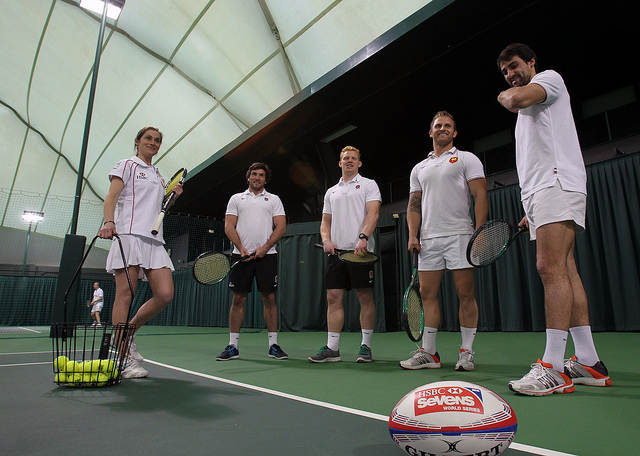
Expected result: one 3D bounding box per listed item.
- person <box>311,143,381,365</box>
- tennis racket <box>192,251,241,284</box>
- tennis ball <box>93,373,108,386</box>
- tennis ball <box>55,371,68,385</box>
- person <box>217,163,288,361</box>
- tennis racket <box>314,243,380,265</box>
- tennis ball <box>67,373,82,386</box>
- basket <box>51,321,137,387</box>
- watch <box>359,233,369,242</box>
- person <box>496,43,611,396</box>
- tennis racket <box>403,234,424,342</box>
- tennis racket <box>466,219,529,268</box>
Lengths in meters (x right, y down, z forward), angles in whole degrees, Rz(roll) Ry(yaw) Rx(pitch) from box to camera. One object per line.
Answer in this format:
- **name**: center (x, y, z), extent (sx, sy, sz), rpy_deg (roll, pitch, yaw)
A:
- **person**: center (0.275, 0.207, 4.144), extent (0.697, 2.245, 0.625), rpy_deg (-5, -12, 21)
- **tennis racket**: center (-1.103, 0.409, 4.136), extent (0.370, 0.290, 0.284), rpy_deg (5, -13, -20)
- **tennis ball**: center (-1.551, 1.066, 2.870), extent (0.072, 0.063, 0.077), rpy_deg (-1, -3, 0)
- **tennis ball**: center (-1.818, 1.056, 2.851), extent (0.065, 0.060, 0.073), rpy_deg (-1, -8, -7)
- **person**: center (-0.723, 0.307, 4.518), extent (0.703, 2.211, 0.439), rpy_deg (3, -12, -15)
- **tennis racket**: center (0.326, 0.284, 3.850), extent (0.222, 0.049, 0.550), rpy_deg (6, 5, -32)
- **tennis ball**: center (-1.728, 1.058, 2.848), extent (0.072, 0.063, 0.075), rpy_deg (-2, -10, 0)
- **basket**: center (-1.704, 0.948, 3.038), extent (0.584, 0.423, 0.448), rpy_deg (5, -16, -35)
- **watch**: center (0.418, 0.077, 3.893), extent (0.079, 0.060, 0.080), rpy_deg (14, -23, 24)
- **person**: center (1.599, 0.011, 2.869), extent (0.835, 2.208, 0.452), rpy_deg (7, -13, -30)
- **tennis racket**: center (0.849, 0.574, 3.706), extent (0.176, 0.918, 0.639), rpy_deg (-3, -12, 14)
- **tennis racket**: center (1.336, 0.103, 3.184), extent (0.645, 0.298, 0.053), rpy_deg (-18, 33, -18)
